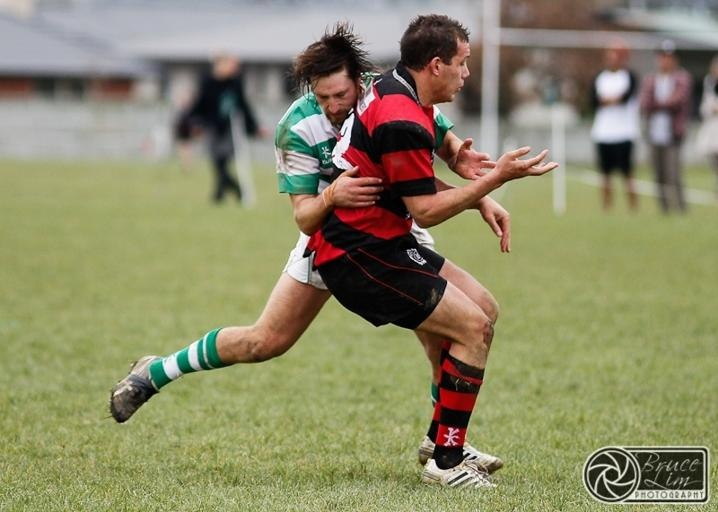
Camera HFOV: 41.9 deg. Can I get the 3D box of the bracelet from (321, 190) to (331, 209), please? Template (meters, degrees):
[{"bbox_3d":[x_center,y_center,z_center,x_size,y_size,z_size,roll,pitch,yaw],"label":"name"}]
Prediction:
[{"bbox_3d":[-0.198,-0.335,5.613,0.072,0.084,0.063,4,10,4],"label":"bracelet"}]

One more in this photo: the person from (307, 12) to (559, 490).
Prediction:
[{"bbox_3d":[0.338,-0.016,5.714,1.227,2.809,0.444,4,13,10],"label":"person"}]

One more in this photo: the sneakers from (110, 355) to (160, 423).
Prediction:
[{"bbox_3d":[-1.464,0.851,6.100,0.455,0.236,0.213,-41,10,-20],"label":"sneakers"}]

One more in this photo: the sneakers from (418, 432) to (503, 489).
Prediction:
[{"bbox_3d":[0.641,1.282,5.828,0.421,0.174,0.261,1,20,-3],"label":"sneakers"}]
